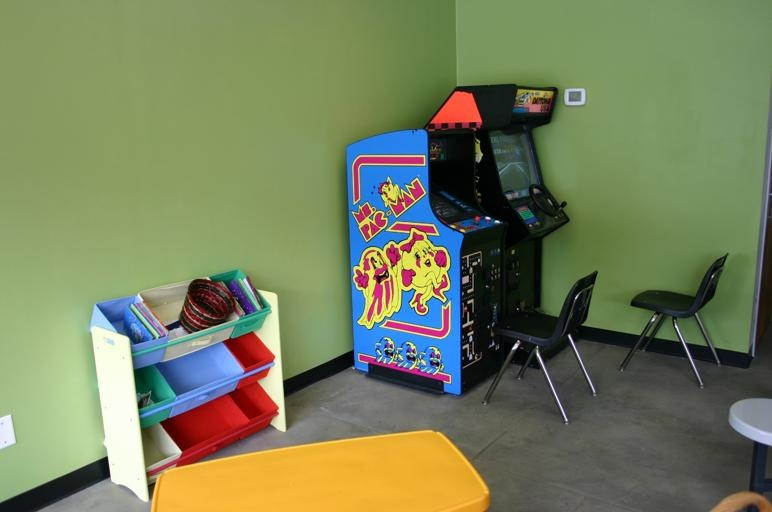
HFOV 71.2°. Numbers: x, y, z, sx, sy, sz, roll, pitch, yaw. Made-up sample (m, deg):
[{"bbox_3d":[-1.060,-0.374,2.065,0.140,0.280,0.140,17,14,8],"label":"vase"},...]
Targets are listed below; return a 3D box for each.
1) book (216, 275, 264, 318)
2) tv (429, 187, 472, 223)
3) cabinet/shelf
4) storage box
[{"bbox_3d":[-0.948,0.247,3.557,0.226,0.090,0.291,-30,79,-20],"label":"book"},{"bbox_3d":[0.461,-0.346,4.008,0.277,0.072,0.301,34,33,14],"label":"tv"},{"bbox_3d":[-1.218,0.797,3.139,0.470,0.998,1.048,6,15,32],"label":"cabinet/shelf"},{"bbox_3d":[-1.269,0.711,3.241,0.468,1.060,1.119,5,13,32],"label":"storage box"}]
